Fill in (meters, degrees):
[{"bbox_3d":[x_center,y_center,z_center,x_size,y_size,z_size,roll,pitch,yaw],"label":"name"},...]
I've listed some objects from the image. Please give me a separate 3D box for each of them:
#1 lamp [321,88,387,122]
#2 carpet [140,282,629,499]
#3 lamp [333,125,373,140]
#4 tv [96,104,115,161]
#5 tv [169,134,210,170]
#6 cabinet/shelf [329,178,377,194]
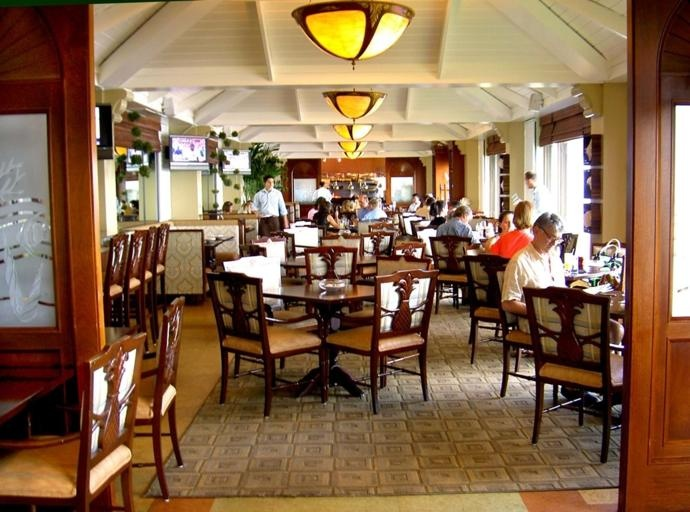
[{"bbox_3d":[0.155,-2.378,8.059,0.719,0.274,0.658,1,2,2],"label":"lamp"},{"bbox_3d":[0.015,1.857,4.120,3.775,3.303,0.038,28,46,-9],"label":"carpet"},{"bbox_3d":[0.240,-2.737,11.352,0.721,0.322,0.494,3,9,29],"label":"lamp"},{"bbox_3d":[-3.281,-1.709,7.091,0.218,0.743,0.333,-5,10,-22],"label":"tv"},{"bbox_3d":[-3.314,-2.165,10.809,0.365,0.715,0.937,18,19,34],"label":"tv"},{"bbox_3d":[0.489,-3.423,25.033,2.972,0.749,0.937,2,1,11],"label":"cabinet/shelf"}]
